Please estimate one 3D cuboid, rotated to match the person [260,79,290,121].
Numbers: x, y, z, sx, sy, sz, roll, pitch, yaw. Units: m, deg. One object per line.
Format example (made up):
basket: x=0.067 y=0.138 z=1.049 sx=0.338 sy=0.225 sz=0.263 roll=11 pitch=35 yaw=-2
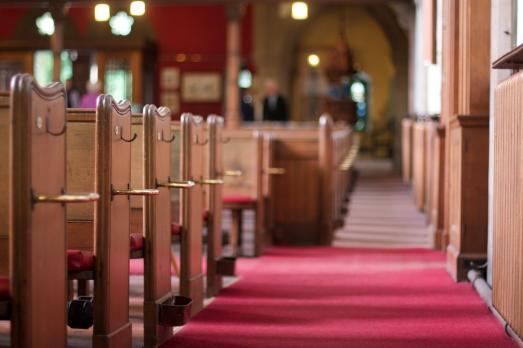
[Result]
person: x=0.285 y=-1.472 z=12.356 sx=0.452 sy=0.771 sz=0.767 roll=0 pitch=5 yaw=-4
